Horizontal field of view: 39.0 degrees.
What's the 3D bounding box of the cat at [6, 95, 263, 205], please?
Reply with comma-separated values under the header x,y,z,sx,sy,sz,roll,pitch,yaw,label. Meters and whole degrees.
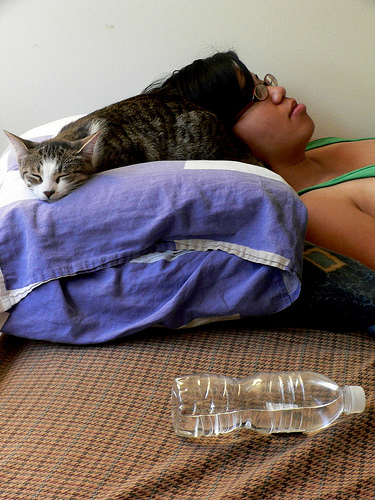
x,y,z,sx,sy,sz,roll,pitch,yaw,label
-0.131,-0.199,1.118,0.310,0.153,0.480,20,38,31,cat
